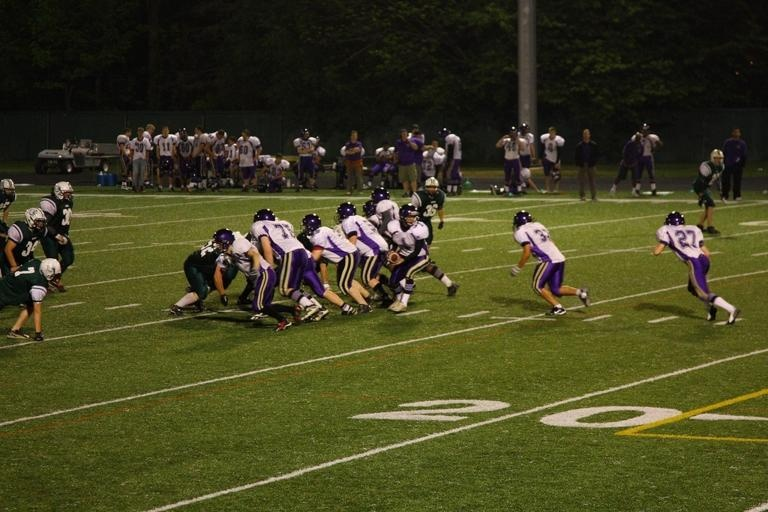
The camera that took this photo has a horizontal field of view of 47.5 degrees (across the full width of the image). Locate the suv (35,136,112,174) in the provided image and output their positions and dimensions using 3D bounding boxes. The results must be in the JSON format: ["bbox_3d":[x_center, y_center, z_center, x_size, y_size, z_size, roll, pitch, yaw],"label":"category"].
[{"bbox_3d":[-13.785,-4.549,39.108,1.903,1.184,2.937,3,6,36],"label":"suv"}]

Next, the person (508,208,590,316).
[{"bbox_3d":[2.485,0.117,12.961,1.107,1.444,0.756,1,11,8],"label":"person"}]

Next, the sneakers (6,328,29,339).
[{"bbox_3d":[-4.882,1.026,11.708,0.255,0.171,0.312,-5,11,-20],"label":"sneakers"}]

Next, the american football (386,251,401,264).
[{"bbox_3d":[0.143,0.006,12.969,0.073,0.187,0.151,25,7,39],"label":"american football"}]

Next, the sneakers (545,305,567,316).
[{"bbox_3d":[2.525,0.804,12.832,0.304,0.120,0.103,-2,6,-2],"label":"sneakers"}]

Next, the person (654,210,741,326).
[{"bbox_3d":[4.488,0.152,12.633,1.040,1.455,1.483,-1,11,-1],"label":"person"}]
